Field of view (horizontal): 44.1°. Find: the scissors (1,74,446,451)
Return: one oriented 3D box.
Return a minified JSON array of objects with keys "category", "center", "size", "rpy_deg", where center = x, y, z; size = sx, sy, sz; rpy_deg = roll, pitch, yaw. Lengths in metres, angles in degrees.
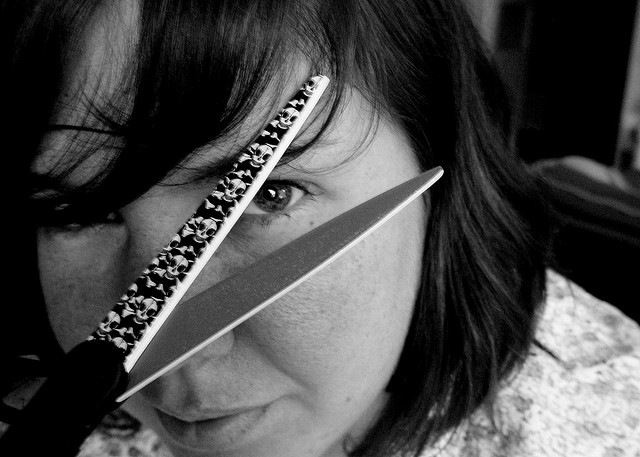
[{"category":"scissors","center":[-0.056,-0.012,0.907],"size":[0.227,0.051,0.697],"rpy_deg":[37,68,12]}]
